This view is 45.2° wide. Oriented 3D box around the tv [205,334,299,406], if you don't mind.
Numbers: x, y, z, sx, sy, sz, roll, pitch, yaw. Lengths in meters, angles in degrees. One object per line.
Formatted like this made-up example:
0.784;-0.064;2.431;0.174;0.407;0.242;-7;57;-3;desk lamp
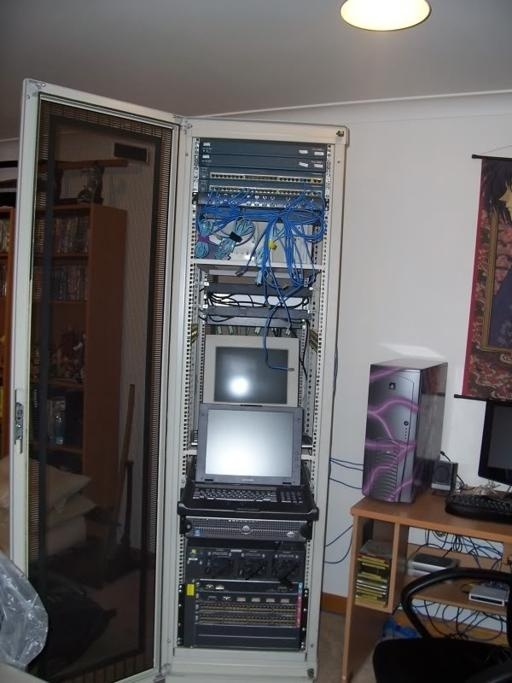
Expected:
-0.026;0.109;2.278;0.271;0.190;0.027;1;-3;2;tv
